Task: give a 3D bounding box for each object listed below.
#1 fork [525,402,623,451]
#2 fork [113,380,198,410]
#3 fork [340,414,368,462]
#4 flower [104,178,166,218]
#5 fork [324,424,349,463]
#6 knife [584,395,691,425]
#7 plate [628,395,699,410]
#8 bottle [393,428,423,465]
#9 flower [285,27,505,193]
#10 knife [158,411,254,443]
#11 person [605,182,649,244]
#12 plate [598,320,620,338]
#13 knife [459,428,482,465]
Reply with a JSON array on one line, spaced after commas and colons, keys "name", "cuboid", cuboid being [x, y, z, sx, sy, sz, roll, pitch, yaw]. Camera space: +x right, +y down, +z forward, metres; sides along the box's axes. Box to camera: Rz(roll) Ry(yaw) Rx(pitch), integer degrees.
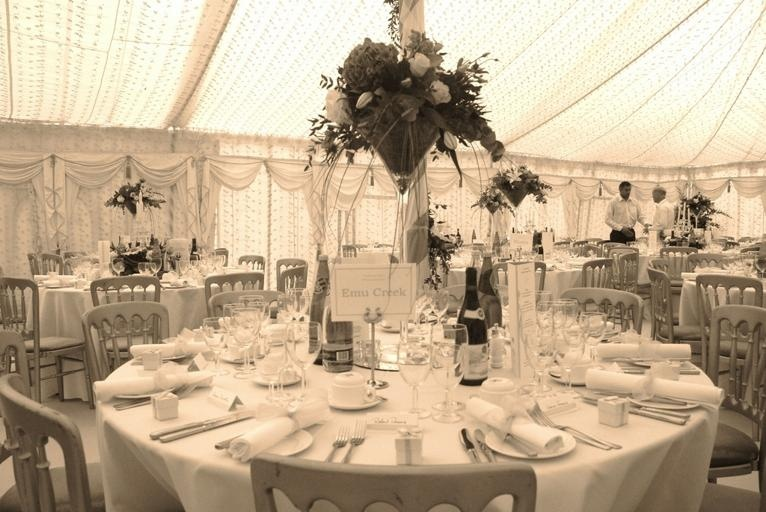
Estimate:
[{"name": "fork", "cuboid": [0.937, 0.853, 2.996, 0.060, 0.088, 0.441, -23, 27, -32]}, {"name": "fork", "cuboid": [-1.227, 0.749, 3.240, 0.319, 0.077, 0.045, -10, -33, -22]}, {"name": "fork", "cuboid": [-0.131, 0.892, 2.967, 0.051, 0.041, 0.287, -5, 30, 12]}, {"name": "flower", "cuboid": [-3.398, -0.789, 8.068, 0.400, 0.368, 0.411, -27, -21, 30]}, {"name": "fork", "cuboid": [-0.219, 0.908, 2.929, 0.041, 0.031, 0.262, -1, 38, 21]}, {"name": "knife", "cuboid": [1.310, 0.798, 3.114, 0.286, 0.046, 0.073, 9, 14, 20]}, {"name": "plate", "cuboid": [1.454, 0.777, 3.179, 0.248, 0.057, 0.123, -3, 16, -2]}, {"name": "bottle", "cuboid": [0.122, 0.908, 2.898, 0.122, 0.143, 0.132, 1, 2, 2]}, {"name": "flower", "cuboid": [0.090, -0.855, 3.775, 1.163, 0.887, 1.147, -18, 11, -31]}, {"name": "knife", "cuboid": [-0.899, 0.866, 3.047, 0.515, 0.045, 0.141, -11, 21, -29]}, {"name": "person", "cuboid": [4.314, -0.760, 10.868, 0.641, 1.190, 0.986, -2, -5, 22]}, {"name": "plate", "cuboid": [1.370, 0.451, 3.713, 0.164, 0.076, 0.178, -2, 1, 2]}, {"name": "knife", "cuboid": [0.411, 0.914, 2.909, 0.042, 0.046, 0.175, -13, 33, 1]}]
